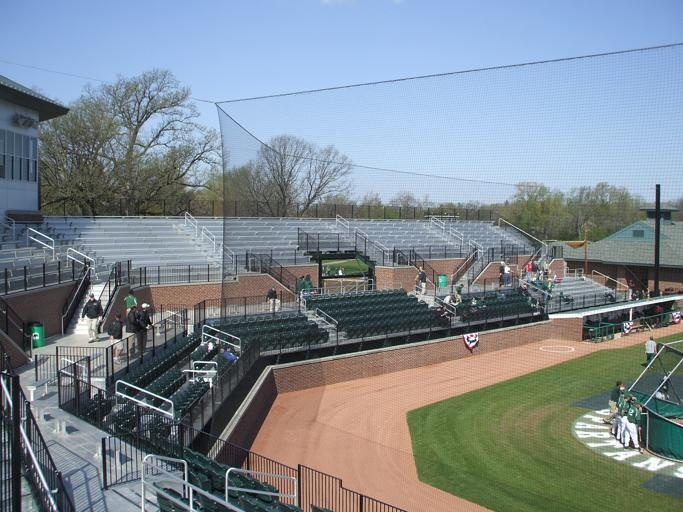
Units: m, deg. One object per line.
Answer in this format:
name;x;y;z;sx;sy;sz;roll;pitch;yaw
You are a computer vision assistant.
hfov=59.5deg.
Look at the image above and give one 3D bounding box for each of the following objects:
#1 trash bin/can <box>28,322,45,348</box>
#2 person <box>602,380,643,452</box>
trash bin/can;-9.402;2.450;18.334;0.403;0.690;0.402;-3;9;-7
person;8.298;4.458;17.587;0.961;1.351;2.563;1;10;16
